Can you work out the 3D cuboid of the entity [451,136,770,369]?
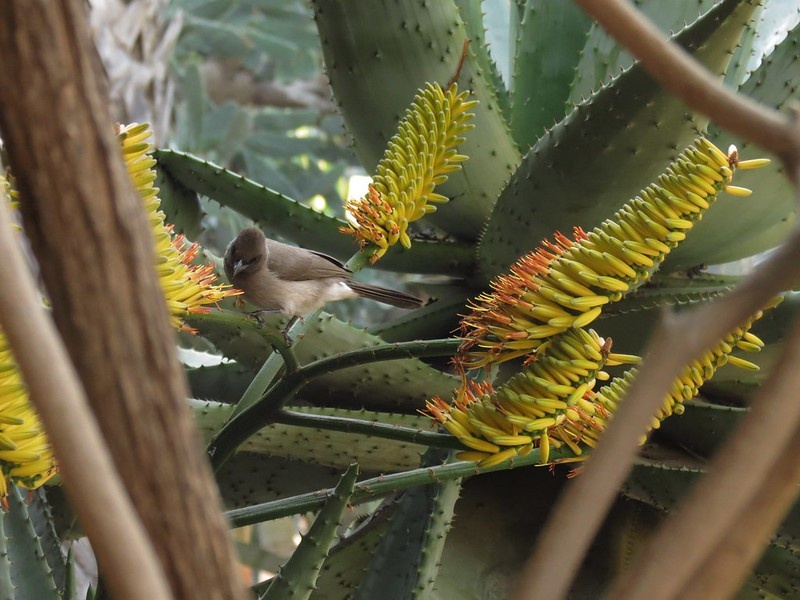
[{"bbox_3d":[0.235,-0.004,1.352,0.117,0.321,0.115,40,50,6],"label":"entity"}]

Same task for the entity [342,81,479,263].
[{"bbox_3d":[0.019,-0.173,1.537,0.125,0.247,0.191,20,31,11],"label":"entity"}]

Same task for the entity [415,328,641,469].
[{"bbox_3d":[0.143,0.111,1.381,0.232,0.140,0.076,-26,55,10],"label":"entity"}]
